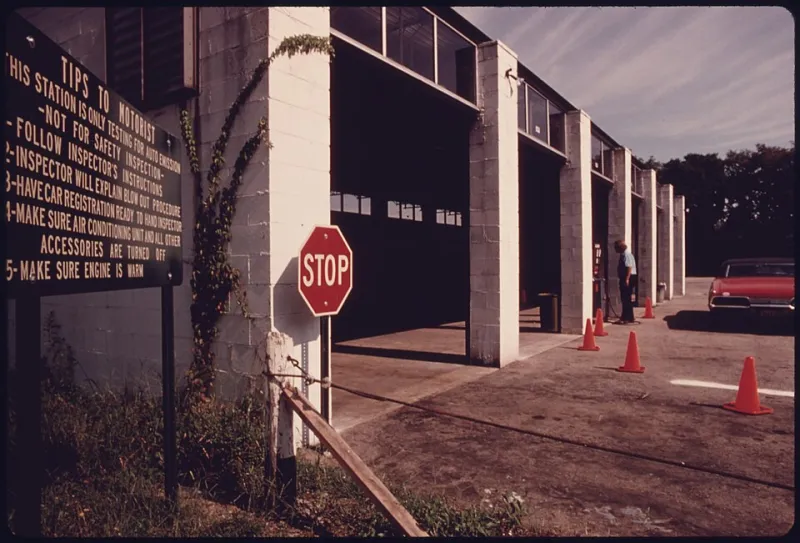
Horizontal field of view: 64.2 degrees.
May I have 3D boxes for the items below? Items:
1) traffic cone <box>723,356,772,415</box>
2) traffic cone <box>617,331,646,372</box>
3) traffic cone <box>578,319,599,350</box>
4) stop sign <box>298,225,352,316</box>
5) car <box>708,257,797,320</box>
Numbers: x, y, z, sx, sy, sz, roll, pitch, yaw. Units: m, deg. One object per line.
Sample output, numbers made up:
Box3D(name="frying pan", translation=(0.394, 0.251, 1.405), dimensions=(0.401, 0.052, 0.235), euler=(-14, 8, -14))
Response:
Box3D(name="traffic cone", translation=(5.359, 1.729, 9.793), dimensions=(0.640, 0.813, 0.651), euler=(7, -25, 7))
Box3D(name="traffic cone", translation=(4.364, 1.479, 12.050), dimensions=(0.498, 0.744, 0.622), euler=(1, 4, 21))
Box3D(name="traffic cone", translation=(4.283, 1.425, 14.368), dimensions=(0.544, 0.840, 0.574), euler=(-1, 2, 31))
Box3D(name="stop sign", translation=(-1.072, -0.015, 8.783), dimensions=(0.114, 1.725, 1.226), euler=(-1, -1, 36))
Box3D(name="car", translation=(8.349, 0.373, 15.139), dimensions=(1.823, 1.246, 3.676), euler=(0, 6, 25))
